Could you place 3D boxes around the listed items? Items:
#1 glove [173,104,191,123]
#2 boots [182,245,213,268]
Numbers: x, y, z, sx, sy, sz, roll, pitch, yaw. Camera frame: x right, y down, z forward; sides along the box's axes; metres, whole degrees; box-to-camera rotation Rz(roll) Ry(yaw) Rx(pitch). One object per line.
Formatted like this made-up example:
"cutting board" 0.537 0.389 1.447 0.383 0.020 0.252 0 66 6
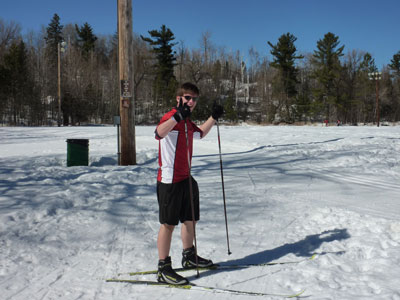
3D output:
"glove" -0.240 -0.517 5.002 0.261 0.098 0.197 -15 -2 33
"boots" -0.042 1.637 5.479 0.482 0.335 0.184 -6 -19 4
